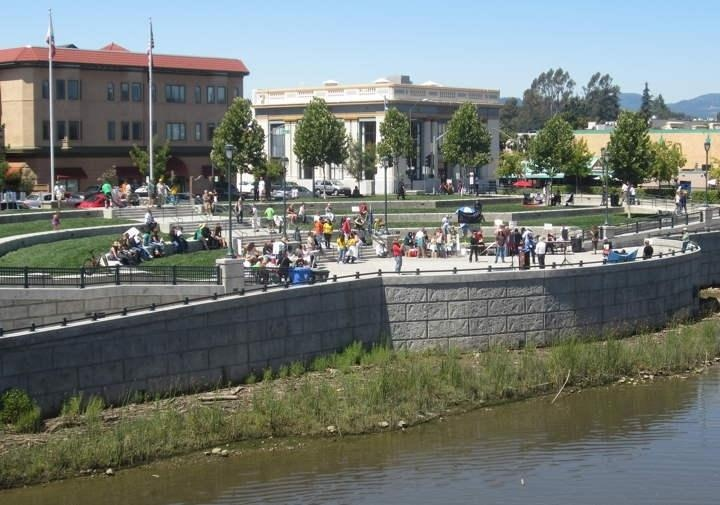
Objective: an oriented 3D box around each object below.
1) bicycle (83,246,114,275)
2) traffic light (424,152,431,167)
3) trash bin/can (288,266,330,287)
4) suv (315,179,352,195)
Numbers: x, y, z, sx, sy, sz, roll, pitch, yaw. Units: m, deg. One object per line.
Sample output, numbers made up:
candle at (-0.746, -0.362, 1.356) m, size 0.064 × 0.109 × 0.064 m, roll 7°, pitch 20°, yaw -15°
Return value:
bicycle at (-13.190, 0.395, 82.400) m, size 0.904 × 1.308 × 2.097 m, roll 0°, pitch -3°, yaw -4°
traffic light at (5.682, -7.570, 134.540) m, size 0.560 × 1.291 × 0.790 m, roll 2°, pitch 4°, yaw 24°
trash bin/can at (-2.419, 1.101, 79.155) m, size 1.295 × 1.113 × 0.928 m, roll 0°, pitch 2°, yaw 40°
suv at (-1.922, -4.719, 119.968) m, size 2.258 × 1.102 × 1.197 m, roll 0°, pitch 2°, yaw 36°
